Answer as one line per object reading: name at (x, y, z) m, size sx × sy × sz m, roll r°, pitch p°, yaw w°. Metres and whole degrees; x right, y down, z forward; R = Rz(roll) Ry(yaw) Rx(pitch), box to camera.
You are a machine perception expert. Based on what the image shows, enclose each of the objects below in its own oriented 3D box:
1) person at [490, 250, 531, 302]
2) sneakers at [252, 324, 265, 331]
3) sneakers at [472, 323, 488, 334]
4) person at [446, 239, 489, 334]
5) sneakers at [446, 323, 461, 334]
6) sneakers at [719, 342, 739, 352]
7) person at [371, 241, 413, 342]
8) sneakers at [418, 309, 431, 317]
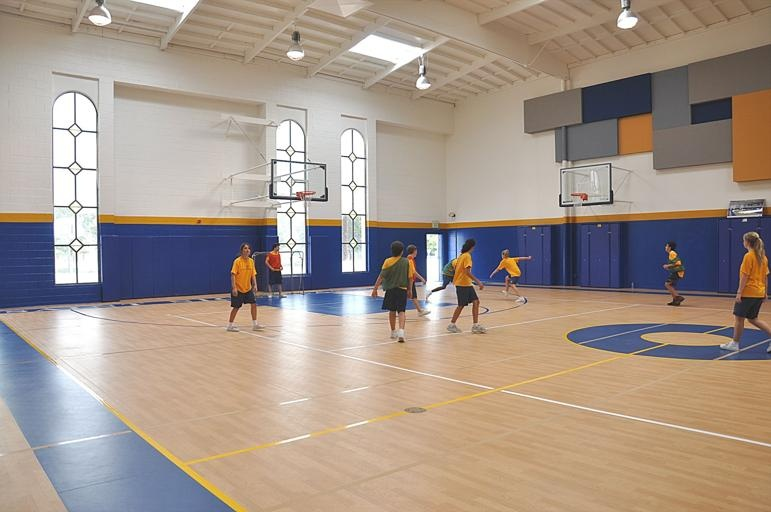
person at (4.254, 0.713, 17.481) m, size 1.058 × 1.867 × 1.230 m, roll -13°, pitch 19°, yaw -39°
sneakers at (-2.504, 1.445, 10.369) m, size 0.265 × 0.116 × 0.091 m, roll -2°, pitch -2°, yaw 27°
sneakers at (1.764, 1.374, 9.711) m, size 0.307 × 0.155 × 0.133 m, roll 1°, pitch 2°, yaw -31°
person at (1.470, 0.557, 9.542) m, size 0.727 × 1.725 × 0.594 m, roll 2°, pitch -5°, yaw -2°
sneakers at (1.327, 1.391, 9.988) m, size 0.288 × 0.204 × 0.116 m, roll 0°, pitch 1°, yaw -14°
sneakers at (5.329, 1.428, 8.125) m, size 0.118 × 0.149 × 0.324 m, roll 1°, pitch 1°, yaw -29°
person at (0.136, 0.641, 9.597) m, size 0.665 × 1.898 × 1.579 m, roll -1°, pitch 8°, yaw 1°
sneakers at (0.893, 1.335, 11.945) m, size 0.294 × 0.138 × 0.101 m, roll -5°, pitch 4°, yaw 7°
